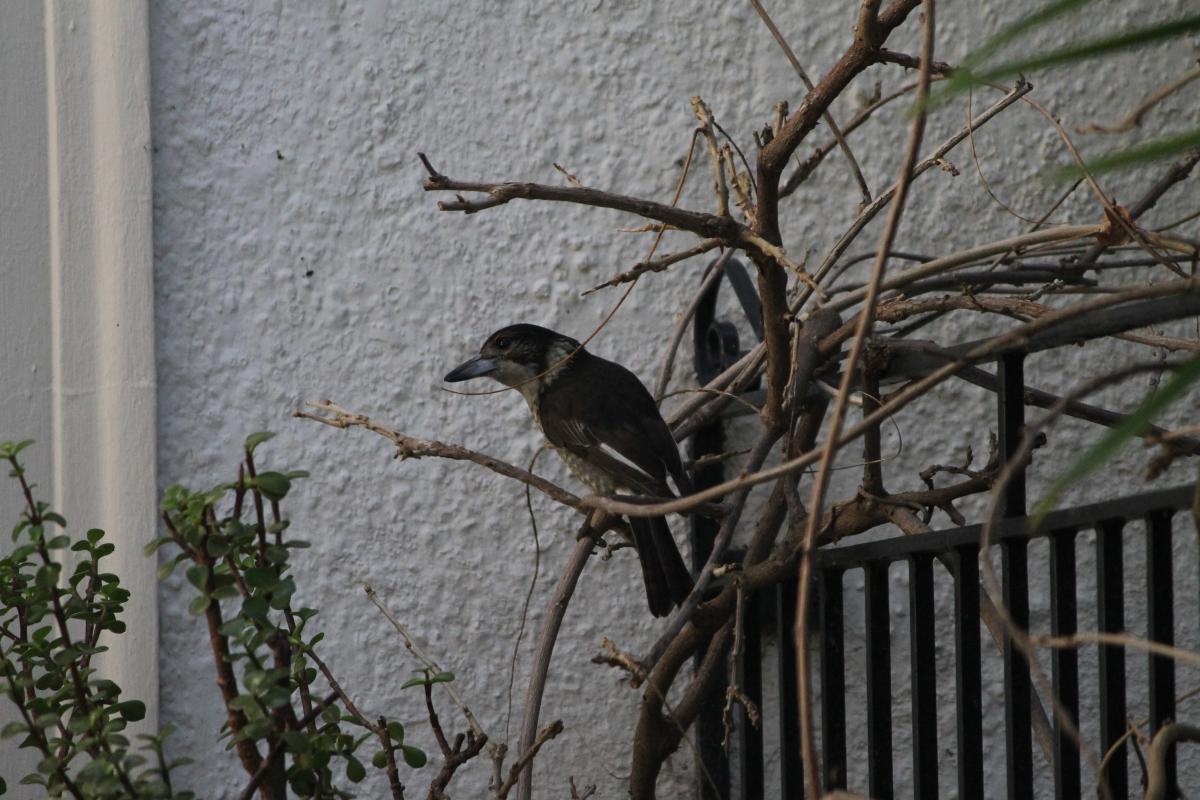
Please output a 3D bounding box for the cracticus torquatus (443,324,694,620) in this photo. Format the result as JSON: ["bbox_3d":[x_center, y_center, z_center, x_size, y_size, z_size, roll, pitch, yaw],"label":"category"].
[{"bbox_3d":[-0.039,0.161,5.388,0.664,0.687,0.381,7,7,40],"label":"cracticus torquatus"}]
